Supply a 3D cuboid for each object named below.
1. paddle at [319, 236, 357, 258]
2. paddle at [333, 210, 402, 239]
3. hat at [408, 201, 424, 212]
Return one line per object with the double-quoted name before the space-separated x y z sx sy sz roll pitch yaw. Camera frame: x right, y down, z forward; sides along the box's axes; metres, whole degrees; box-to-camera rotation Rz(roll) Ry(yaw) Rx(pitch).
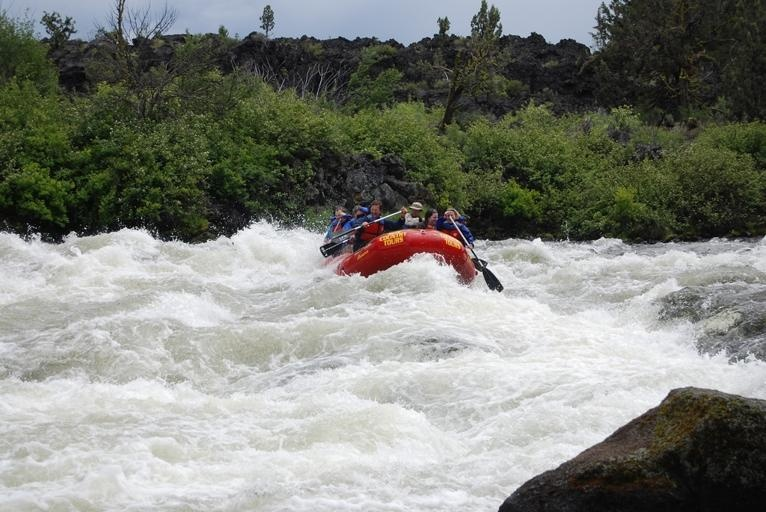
"paddle" -1.285 -0.251 25.700 0.394 0.407 1.359 44 31 13
"paddle" -0.523 -0.875 25.986 2.764 0.320 0.414 -13 38 27
"hat" 0.995 -1.475 26.335 0.398 0.192 0.498 17 -16 12
